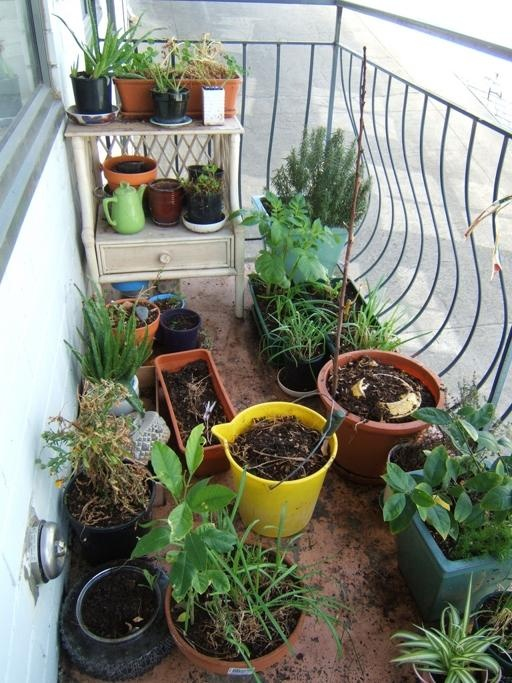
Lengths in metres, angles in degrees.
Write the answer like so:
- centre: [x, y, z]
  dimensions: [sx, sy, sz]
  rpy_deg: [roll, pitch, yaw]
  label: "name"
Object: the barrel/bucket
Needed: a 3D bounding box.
- centre: [0.051, 0.383, 1.502]
  dimensions: [0.343, 0.512, 0.467]
  rpy_deg: [-2, 33, -6]
  label: "barrel/bucket"
